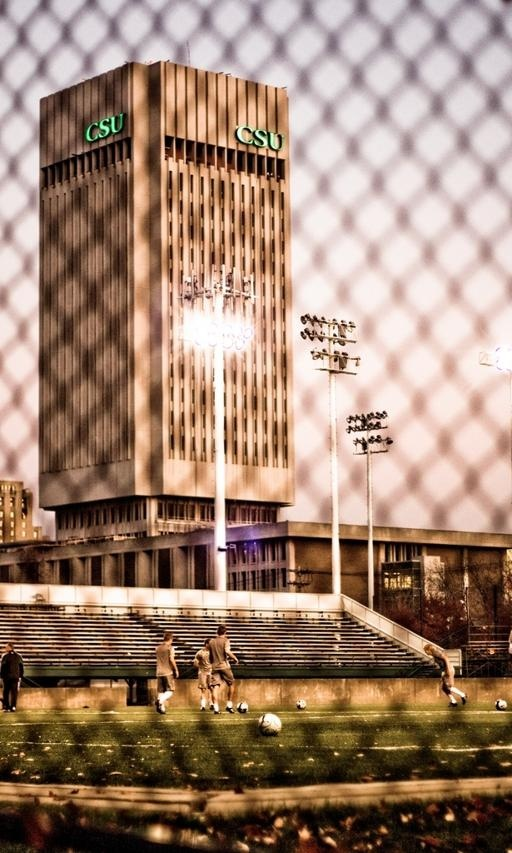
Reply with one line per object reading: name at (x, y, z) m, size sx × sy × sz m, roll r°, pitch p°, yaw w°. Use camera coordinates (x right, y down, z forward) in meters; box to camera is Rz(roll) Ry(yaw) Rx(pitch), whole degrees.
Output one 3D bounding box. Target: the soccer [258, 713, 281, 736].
soccer at (0.159, 3.829, 21.531) m, size 0.271 × 0.304 × 0.691 m, roll -1°, pitch -12°, yaw -2°
